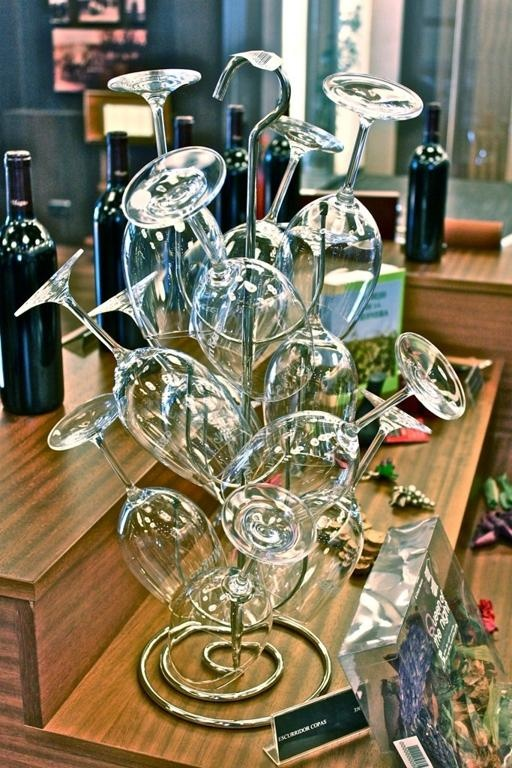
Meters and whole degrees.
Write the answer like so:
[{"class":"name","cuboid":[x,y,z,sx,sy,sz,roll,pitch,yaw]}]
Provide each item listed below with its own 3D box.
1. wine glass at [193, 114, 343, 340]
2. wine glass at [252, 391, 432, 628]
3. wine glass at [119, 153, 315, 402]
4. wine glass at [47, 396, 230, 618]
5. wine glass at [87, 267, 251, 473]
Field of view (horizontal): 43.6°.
[{"class":"wine glass","cuboid":[-0.008,-0.102,0.501,0.081,0.201,0.081,-12,21,-40]},{"class":"wine glass","cuboid":[0.063,0.098,0.552,0.089,0.090,0.211,12,66,42]},{"class":"wine glass","cuboid":[-0.017,-0.057,0.410,0.104,0.175,0.176,1,15,3]},{"class":"wine glass","cuboid":[-0.080,0.103,0.520,0.077,0.199,0.077,-31,19,4]},{"class":"wine glass","cuboid":[-0.066,-0.003,0.443,0.058,0.165,0.058,-28,22,-28]}]
